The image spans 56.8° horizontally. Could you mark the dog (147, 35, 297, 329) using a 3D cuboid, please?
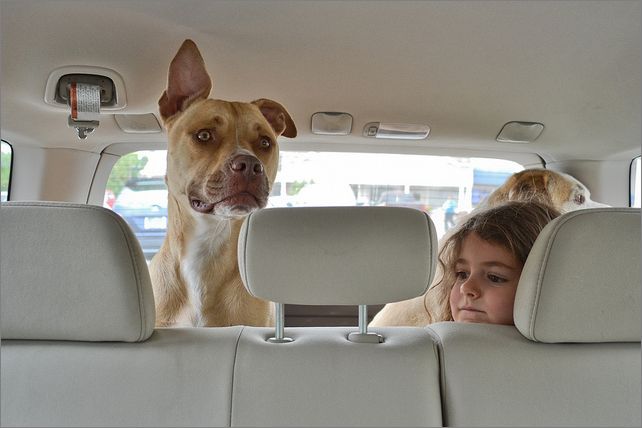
[{"bbox_3d":[-0.693,0.102,3.735,0.729,1.635,1.887,5,-10,-19],"label":"dog"}]
